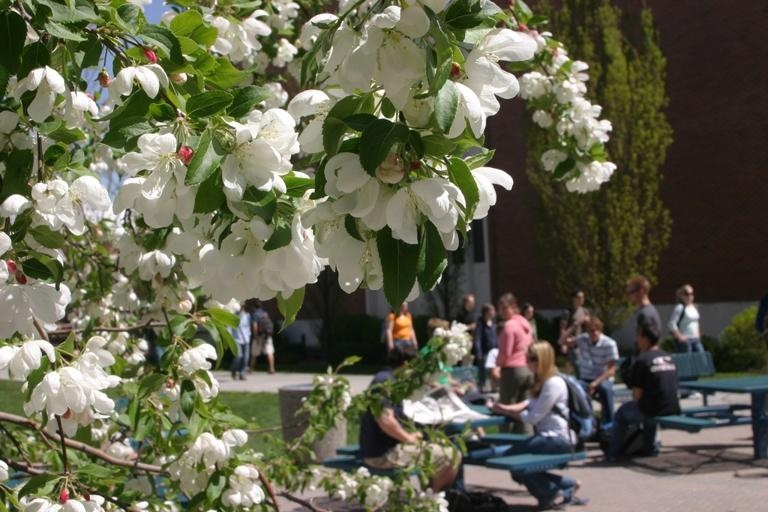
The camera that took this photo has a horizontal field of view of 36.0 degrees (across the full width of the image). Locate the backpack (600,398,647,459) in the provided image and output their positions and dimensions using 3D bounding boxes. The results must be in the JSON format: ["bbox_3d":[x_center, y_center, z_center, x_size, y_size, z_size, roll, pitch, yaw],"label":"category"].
[{"bbox_3d":[3.294,2.374,16.099,0.547,0.894,0.414,10,7,-28],"label":"backpack"}]

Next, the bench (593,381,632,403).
[{"bbox_3d":[3.367,2.005,17.396,0.399,0.236,0.550,-10,6,4],"label":"bench"}]
